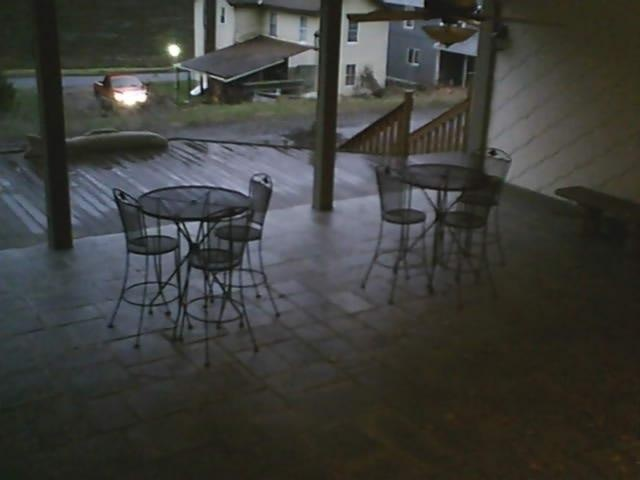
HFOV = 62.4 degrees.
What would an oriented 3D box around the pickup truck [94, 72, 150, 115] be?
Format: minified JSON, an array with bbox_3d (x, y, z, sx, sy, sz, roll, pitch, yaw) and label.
[{"bbox_3d":[-6.188,-4.500,16.396,0.933,0.736,1.598,-11,26,-28],"label":"pickup truck"}]
